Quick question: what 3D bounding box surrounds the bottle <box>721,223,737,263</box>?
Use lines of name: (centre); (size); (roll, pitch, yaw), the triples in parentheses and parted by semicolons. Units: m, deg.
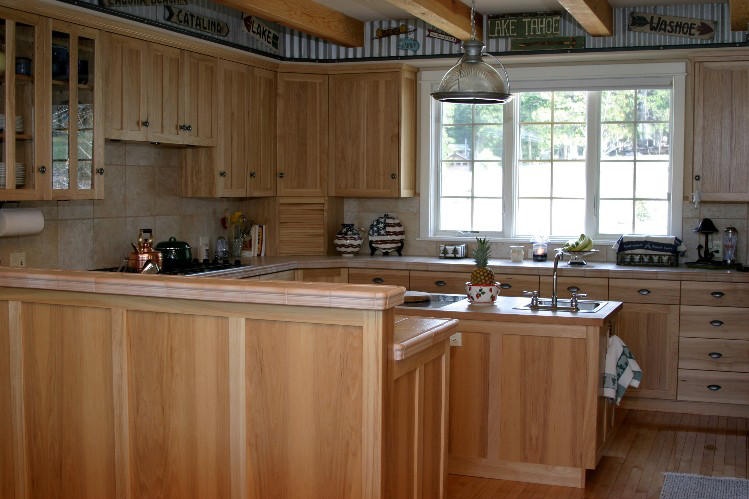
bottle: (3.301, -0.036, 5.772); (0.114, 0.332, 0.290); (4, 8, 30)

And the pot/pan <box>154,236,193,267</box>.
pot/pan: (-1.772, 0.024, 5.431); (0.301, 0.208, 0.271); (0, -3, -17)

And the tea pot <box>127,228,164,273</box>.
tea pot: (-1.943, 0.036, 5.318); (0.444, 0.386, 0.307); (-2, -3, 45)

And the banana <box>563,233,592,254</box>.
banana: (1.950, -0.049, 5.924); (0.272, 0.117, 0.227); (5, 2, 39)

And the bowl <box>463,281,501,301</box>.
bowl: (0.767, 0.315, 4.451); (0.226, 0.144, 0.131); (0, 7, 2)

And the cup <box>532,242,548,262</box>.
cup: (1.635, 0.038, 6.184); (0.209, 0.202, 0.178); (2, 4, 29)

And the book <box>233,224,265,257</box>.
book: (-1.285, -0.074, 6.603); (0.340, 0.385, 0.458); (0, 0, -44)

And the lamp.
lamp: (0.645, -1.147, 3.912); (0.418, 0.427, 0.395); (-7, 9, -44)

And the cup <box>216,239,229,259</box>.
cup: (-1.560, -0.012, 6.286); (0.124, 0.191, 0.335); (-2, 7, -14)

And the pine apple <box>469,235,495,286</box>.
pine apple: (0.759, 0.117, 4.470); (0.177, 0.363, 0.187); (-14, 17, -42)

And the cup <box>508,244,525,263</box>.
cup: (1.428, 0.053, 6.269); (0.143, 0.129, 0.202); (-1, -3, 8)
